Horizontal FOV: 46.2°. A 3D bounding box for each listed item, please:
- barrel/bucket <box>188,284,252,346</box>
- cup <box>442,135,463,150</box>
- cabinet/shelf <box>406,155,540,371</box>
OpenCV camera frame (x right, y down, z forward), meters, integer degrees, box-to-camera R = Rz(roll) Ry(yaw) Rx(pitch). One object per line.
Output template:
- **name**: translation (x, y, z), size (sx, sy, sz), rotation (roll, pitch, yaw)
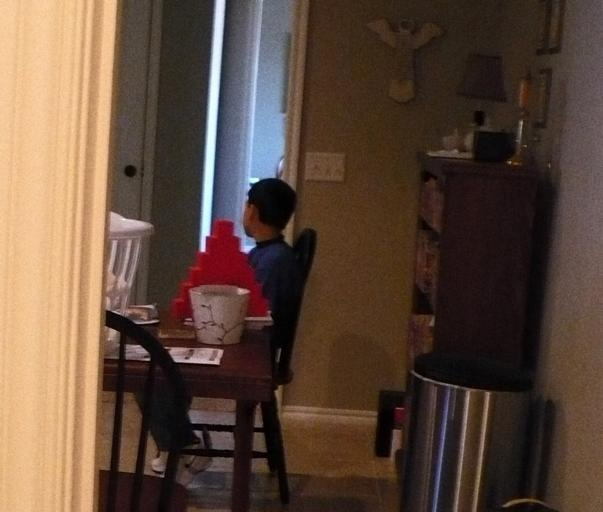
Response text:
- **barrel/bucket**: translation (-0.163, 0.115, 1.388), size (0.120, 0.108, 0.128), rotation (4, 7, 0)
- **cup**: translation (0.359, -0.273, 1.694), size (0.046, 0.041, 0.037), rotation (6, -3, 17)
- **cabinet/shelf**: translation (0.404, 0.018, 1.631), size (0.170, 0.509, 0.523), rotation (5, 6, 11)
